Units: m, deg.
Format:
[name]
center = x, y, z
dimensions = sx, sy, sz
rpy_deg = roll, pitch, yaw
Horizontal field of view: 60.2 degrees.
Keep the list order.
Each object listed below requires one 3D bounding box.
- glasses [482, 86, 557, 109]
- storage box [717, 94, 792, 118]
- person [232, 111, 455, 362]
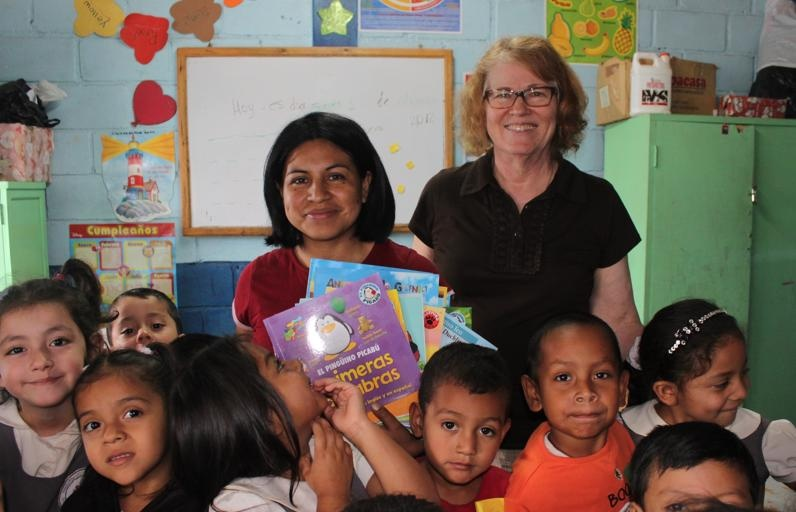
[glasses]
center = 0.505, -0.637, 2.786
dimensions = 0.279, 0.090, 0.046
rpy_deg = -2, 8, 2
[storage box]
center = 2.166, -0.892, 4.203
dimensions = 0.301, 0.093, 0.214
rpy_deg = 1, 5, -2
[person]
center = -0.280, -0.091, 2.782
dimensions = 0.915, 0.836, 0.447
rpy_deg = -1, 6, 10
